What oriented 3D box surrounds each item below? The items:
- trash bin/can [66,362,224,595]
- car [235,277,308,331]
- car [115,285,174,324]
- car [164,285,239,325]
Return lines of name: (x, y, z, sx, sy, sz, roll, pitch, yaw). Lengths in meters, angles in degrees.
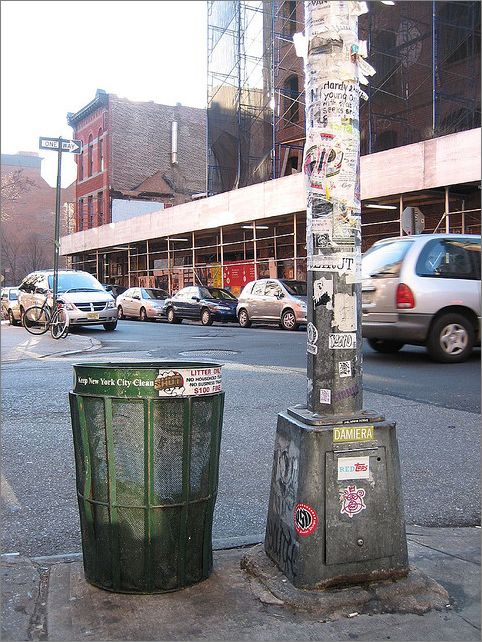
trash bin/can: (-0.387, 0.564, 2.556, 0.568, 0.982, 0.574, -8, 17, -36)
car: (1.233, -0.544, 20.062, 1.293, 1.318, 2.158, 1, -3, -41)
car: (-4.378, -0.779, 28.277, 1.306, 1.313, 2.855, 0, -1, -29)
car: (-1.444, -0.622, 24.251, 1.909, 1.501, 3.882, -1, 3, -29)
